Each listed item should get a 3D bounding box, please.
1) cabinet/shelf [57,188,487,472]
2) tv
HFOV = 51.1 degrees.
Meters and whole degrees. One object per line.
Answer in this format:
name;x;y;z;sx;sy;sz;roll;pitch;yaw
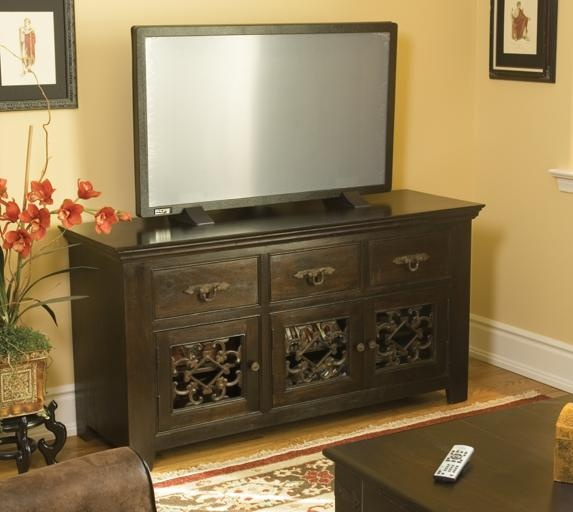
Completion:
cabinet/shelf;-0.015;0.301;2.972;1.962;0.892;0.655;-6;11;-31
tv;-0.081;-0.649;2.796;1.418;0.794;0.125;-12;25;-32
